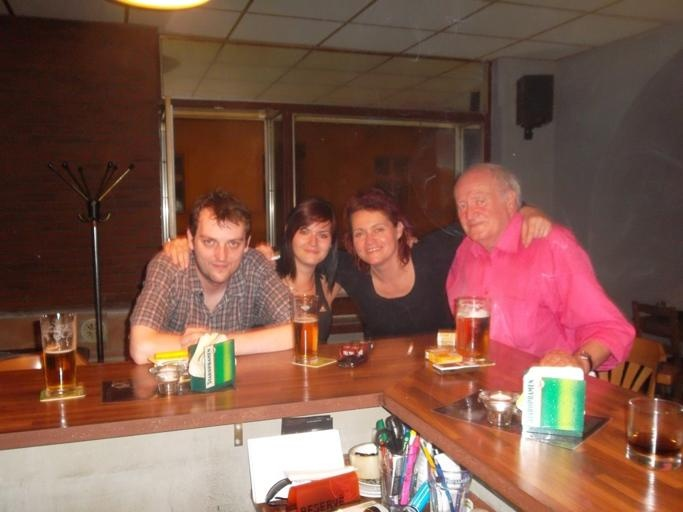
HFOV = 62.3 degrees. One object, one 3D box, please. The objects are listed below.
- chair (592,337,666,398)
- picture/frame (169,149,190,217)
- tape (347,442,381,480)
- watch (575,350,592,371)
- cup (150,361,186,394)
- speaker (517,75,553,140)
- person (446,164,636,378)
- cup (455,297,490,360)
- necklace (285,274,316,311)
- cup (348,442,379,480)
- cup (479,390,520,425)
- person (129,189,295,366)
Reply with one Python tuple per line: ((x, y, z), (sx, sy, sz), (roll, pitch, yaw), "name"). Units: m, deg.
((1.214, 0.473, 2.405), (0.224, 0.320, 0.228), (29, -29, -29), "chair")
((-1.952, -0.837, 6.821), (0.174, 0.846, 0.043), (-3, -18, -12), "picture/frame")
((0.088, 0.738, 2.041), (0.111, 0.077, 0.112), (0, -8, 0), "tape")
((0.925, 0.396, 2.121), (0.071, 0.039, 0.054), (31, 4, -1), "watch")
((-0.625, 0.434, 2.027), (0.134, 0.108, 0.091), (1, 2, -3), "cup")
((2.172, -1.667, 6.300), (0.395, 0.732, 0.316), (5, 27, 6), "speaker")
((0.861, 0.041, 2.917), (0.549, 1.113, 1.088), (-24, 18, -35), "person")
((0.505, 0.279, 2.177), (0.139, 0.252, 0.105), (-5, 3, 15), "cup")
((-0.213, 0.178, 2.780), (0.084, 0.144, 0.141), (-17, 36, -31), "necklace")
((0.116, 0.763, 2.097), (0.142, 0.096, 0.140), (-12, -15, -3), "cup")
((0.492, 0.476, 1.801), (0.132, 0.086, 0.157), (-4, 3, 32), "cup")
((-0.588, 0.066, 2.588), (0.781, 0.643, 0.884), (-7, 3, -21), "person")
